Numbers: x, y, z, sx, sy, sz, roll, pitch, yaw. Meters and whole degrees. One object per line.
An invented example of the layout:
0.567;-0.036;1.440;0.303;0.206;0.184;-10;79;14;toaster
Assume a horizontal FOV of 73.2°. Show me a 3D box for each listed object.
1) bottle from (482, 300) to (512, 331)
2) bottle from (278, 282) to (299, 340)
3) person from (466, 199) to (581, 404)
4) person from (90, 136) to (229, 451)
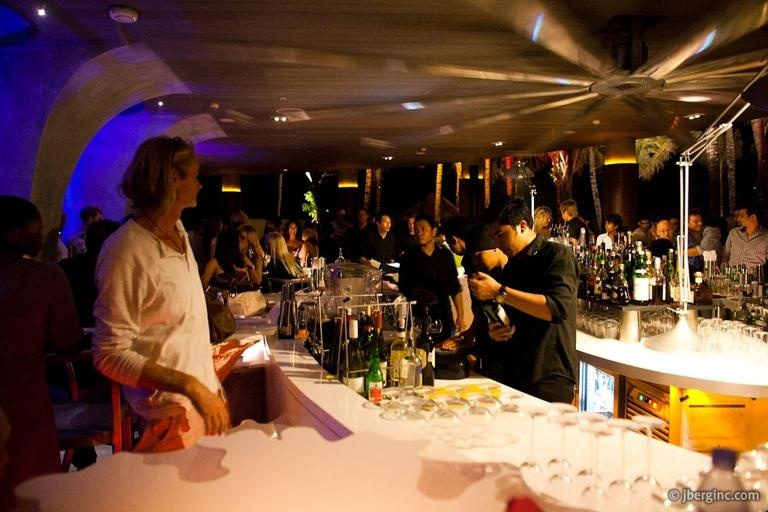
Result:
0.652;0.334;3.033;0.165;0.152;0.192;-1;-2;16;bottle
-0.682;0.377;3.640;0.128;0.387;0.269;0;-1;-19;bottle
0.825;0.263;3.053;0.584;1.209;0.516;-1;-1;18;person
-0.976;0.153;2.288;0.546;1.386;0.406;-1;-1;-14;person
